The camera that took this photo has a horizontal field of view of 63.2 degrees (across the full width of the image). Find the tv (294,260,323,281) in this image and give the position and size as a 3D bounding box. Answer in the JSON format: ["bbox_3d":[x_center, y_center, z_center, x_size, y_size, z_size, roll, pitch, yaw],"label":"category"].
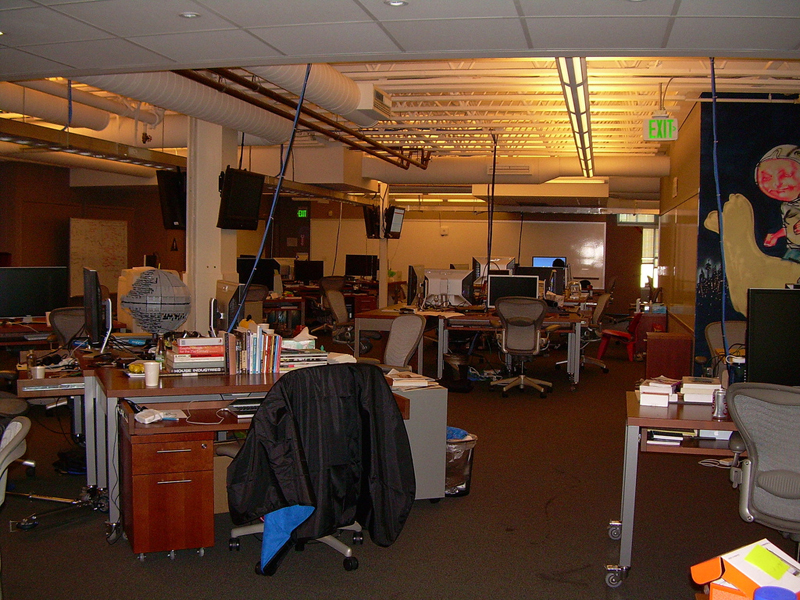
[{"bbox_3d":[-2.324,-0.735,16.483,0.562,0.399,0.164,2,12,6],"label":"tv"}]

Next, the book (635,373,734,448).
[{"bbox_3d":[1.904,0.723,4.440,0.547,0.391,0.423,4,4,10],"label":"book"}]

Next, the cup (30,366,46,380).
[{"bbox_3d":[-2.706,0.547,4.873,0.104,0.090,0.079,0,5,-22],"label":"cup"}]

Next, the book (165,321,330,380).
[{"bbox_3d":[-1.194,0.416,5.017,1.355,0.367,0.549,6,4,-29],"label":"book"}]

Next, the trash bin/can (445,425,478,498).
[{"bbox_3d":[0.497,1.345,5.473,0.361,0.473,0.212,-1,-11,34],"label":"trash bin/can"}]

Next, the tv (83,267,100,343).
[{"bbox_3d":[-2.599,0.056,5.473,0.073,0.475,0.687,-1,4,-20],"label":"tv"}]

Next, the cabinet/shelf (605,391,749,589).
[{"bbox_3d":[1.794,1.227,4.368,0.711,1.112,0.914,4,9,19],"label":"cabinet/shelf"}]

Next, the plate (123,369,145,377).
[{"bbox_3d":[-1.976,0.547,4.860,0.105,0.038,0.195,-4,10,-33],"label":"plate"}]

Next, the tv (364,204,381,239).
[{"bbox_3d":[-0.622,-1.779,14.773,0.358,0.718,0.681,1,8,-3],"label":"tv"}]

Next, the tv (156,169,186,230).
[{"bbox_3d":[-3.254,-1.379,9.142,0.387,0.771,0.468,4,9,19],"label":"tv"}]

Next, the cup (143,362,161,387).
[{"bbox_3d":[-1.766,0.518,4.628,0.093,0.161,0.186,-2,9,-20],"label":"cup"}]

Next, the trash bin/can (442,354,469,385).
[{"bbox_3d":[0.802,0.983,9.310,0.371,0.421,0.376,0,3,10],"label":"trash bin/can"}]

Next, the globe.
[{"bbox_3d":[-1.973,0.054,5.358,0.547,0.625,0.551,1,5,-5],"label":"globe"}]

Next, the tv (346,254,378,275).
[{"bbox_3d":[-0.988,-0.897,16.925,0.815,0.555,0.478,0,-4,1],"label":"tv"}]
